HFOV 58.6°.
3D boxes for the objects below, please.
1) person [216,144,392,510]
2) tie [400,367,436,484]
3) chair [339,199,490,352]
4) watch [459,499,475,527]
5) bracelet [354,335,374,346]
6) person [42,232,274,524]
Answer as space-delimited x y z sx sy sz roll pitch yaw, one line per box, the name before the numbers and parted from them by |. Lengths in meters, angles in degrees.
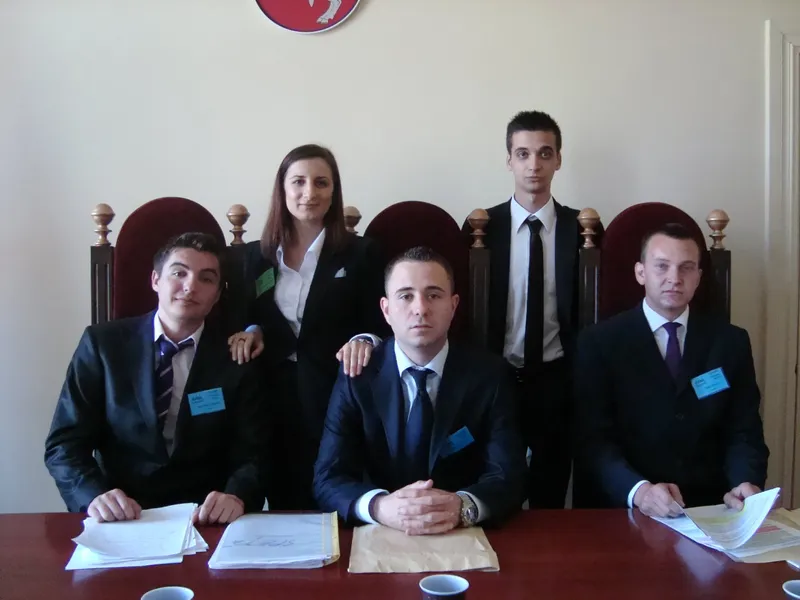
person | -0.431 0.329 3.146 0.551 1.933 0.580 5 17 3
tie | 0.065 0.453 2.569 0.109 0.398 0.104 -1 9 9
chair | 0.101 -0.107 3.554 0.541 1.040 0.589 -2 -4 0
watch | 0.221 0.696 2.321 0.046 0.029 0.065 -4 36 -3
bracelet | -0.146 0.159 2.839 0.040 0.033 0.043 0 -15 4
person | -0.925 0.398 3.020 0.824 1.529 0.977 4 -12 -16
